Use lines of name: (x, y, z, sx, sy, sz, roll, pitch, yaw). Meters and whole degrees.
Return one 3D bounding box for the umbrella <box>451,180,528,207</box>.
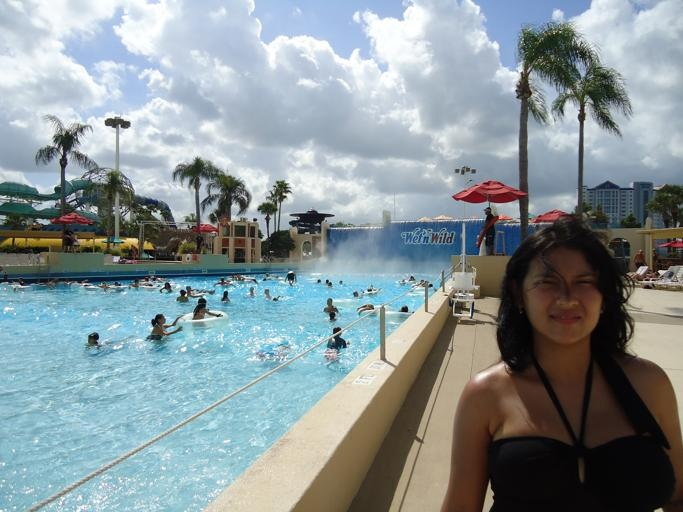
umbrella: (2.972, -1.297, 9.427, 1.365, 0.452, 0.834, -8, 7, -36)
